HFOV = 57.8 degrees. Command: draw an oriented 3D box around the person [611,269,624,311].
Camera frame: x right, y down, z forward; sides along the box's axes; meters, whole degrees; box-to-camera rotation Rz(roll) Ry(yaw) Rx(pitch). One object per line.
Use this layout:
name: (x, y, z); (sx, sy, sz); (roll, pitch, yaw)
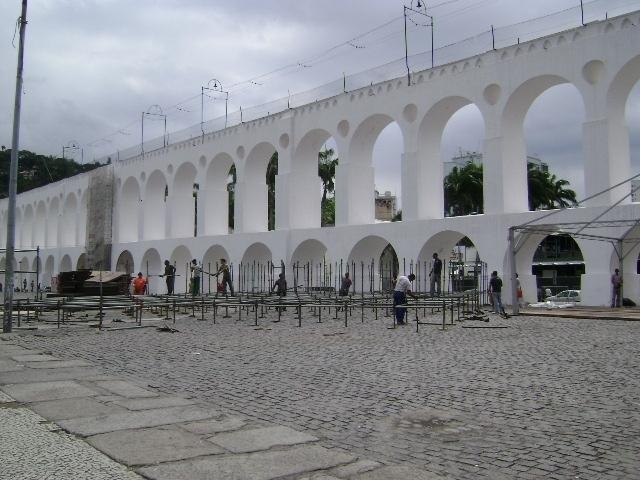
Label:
person: (9.321, 1.522, 18.226); (0.282, 1.205, 0.679); (-1, -1, 29)

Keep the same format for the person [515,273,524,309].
person: (7.162, 1.762, 20.729); (0.230, 1.078, 2.436); (-1, -1, 19)

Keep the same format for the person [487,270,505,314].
person: (5.611, 1.665, 18.433); (0.425, 1.308, 2.613); (-1, -1, 16)

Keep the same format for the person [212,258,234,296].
person: (-4.427, 1.672, 26.685); (0.762, 1.777, 0.694); (4, 20, 7)

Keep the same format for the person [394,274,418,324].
person: (2.339, 1.622, 16.103); (0.544, 1.345, 2.808); (0, -1, 9)
